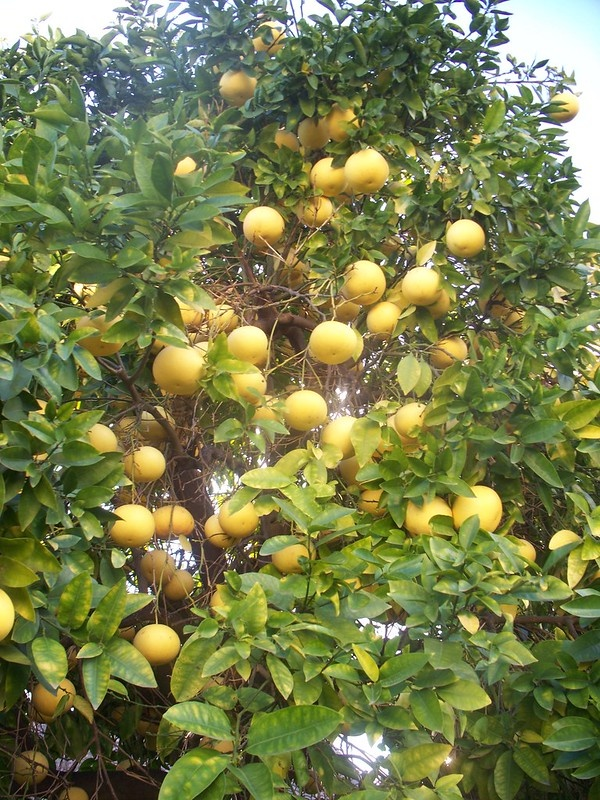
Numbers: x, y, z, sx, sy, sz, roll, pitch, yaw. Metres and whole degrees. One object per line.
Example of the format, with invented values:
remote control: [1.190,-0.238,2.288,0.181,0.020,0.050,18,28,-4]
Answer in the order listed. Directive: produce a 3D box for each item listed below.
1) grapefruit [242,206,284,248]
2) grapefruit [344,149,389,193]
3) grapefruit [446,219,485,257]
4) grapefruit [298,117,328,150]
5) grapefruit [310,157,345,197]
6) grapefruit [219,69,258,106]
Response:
grapefruit: [-0.098,-0.496,2.099,0.147,0.121,0.154,6,16,9]
grapefruit: [0.180,-0.628,1.987,0.139,0.136,0.118,6,-36,0]
grapefruit: [0.448,-0.443,2.033,0.116,0.117,0.101,7,-45,5]
grapefruit: [0.039,-0.796,2.182,0.084,0.081,0.076,2,-17,-1]
grapefruit: [0.083,-0.654,2.124,0.104,0.102,0.090,11,-33,-16]
grapefruit: [-0.198,-1.008,2.355,0.125,0.126,0.103,5,-54,-1]
